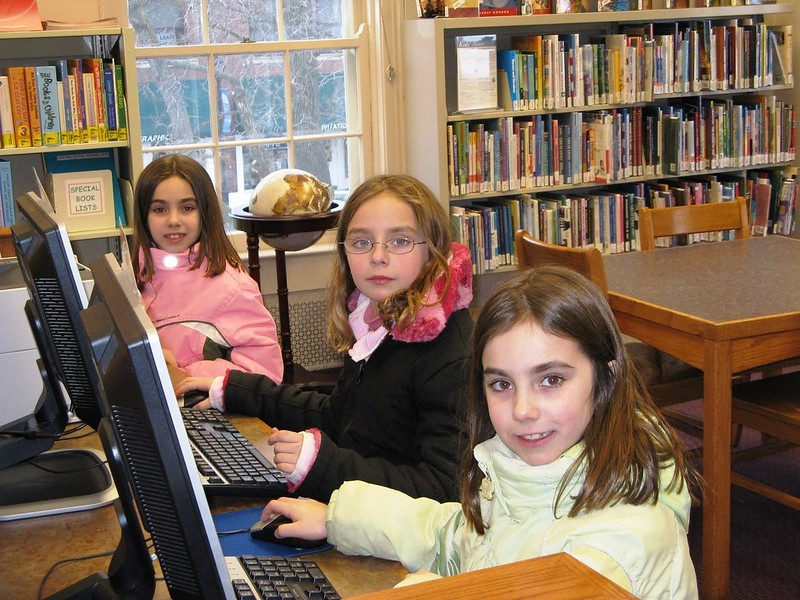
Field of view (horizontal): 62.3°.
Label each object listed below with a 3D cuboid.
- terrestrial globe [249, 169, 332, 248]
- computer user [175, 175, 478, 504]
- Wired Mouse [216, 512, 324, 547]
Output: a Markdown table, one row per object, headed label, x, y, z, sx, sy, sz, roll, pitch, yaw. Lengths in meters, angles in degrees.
| label | x | y | z | sx | sy | sz | roll | pitch | yaw |
| --- | --- | --- | --- | --- | --- | --- | --- | --- | --- |
| terrestrial globe | -0.494 | -0.397 | 2.928 | 0.315 | 0.306 | 0.267 | -6 | 21 | -31 |
| computer user | -0.170 | 0.093 | 1.648 | 0.669 | 0.968 | 0.697 | 3 | 8 | -21 |
| Wired Mouse | -0.228 | 0.372 | 1.124 | 0.129 | 0.039 | 0.071 | -1 | 8 | 6 |
